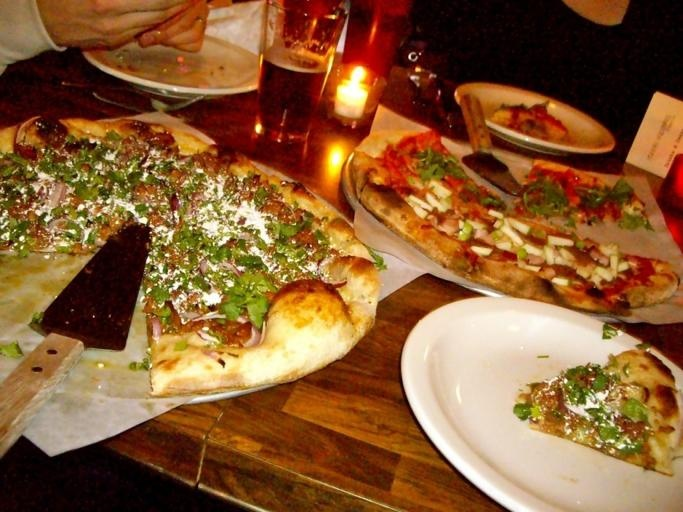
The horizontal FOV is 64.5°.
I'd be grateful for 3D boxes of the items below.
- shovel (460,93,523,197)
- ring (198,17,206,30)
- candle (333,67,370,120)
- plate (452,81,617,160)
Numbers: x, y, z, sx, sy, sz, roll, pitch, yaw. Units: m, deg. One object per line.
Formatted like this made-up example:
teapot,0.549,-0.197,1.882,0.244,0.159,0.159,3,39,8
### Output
shovel,0.540,-0.439,2.089,0.172,0.054,0.458,-6,45,-6
ring,-0.456,-0.758,1.769,0.027,0.034,0.035,-3,12,-1
candle,0.041,-0.554,1.941,0.159,0.170,0.149,8,49,-3
plate,0.910,-0.622,2.498,0.562,0.091,0.535,-5,38,-29
